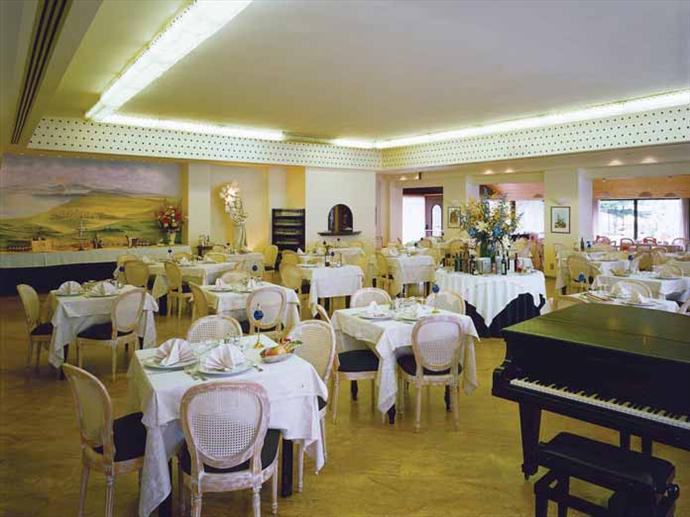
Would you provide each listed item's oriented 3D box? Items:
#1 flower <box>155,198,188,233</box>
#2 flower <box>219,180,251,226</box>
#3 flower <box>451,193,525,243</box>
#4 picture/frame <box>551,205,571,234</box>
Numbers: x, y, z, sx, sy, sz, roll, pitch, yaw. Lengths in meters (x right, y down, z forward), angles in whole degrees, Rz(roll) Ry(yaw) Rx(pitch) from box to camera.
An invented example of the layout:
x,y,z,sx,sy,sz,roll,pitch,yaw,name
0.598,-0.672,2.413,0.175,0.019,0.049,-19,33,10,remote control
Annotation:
x,y,z,sx,sy,sz,roll,pitch,yaw,name
-4.629,-1.126,13.472,0.745,0.360,0.856,3,14,-24,flower
-3.102,-1.425,14.207,0.736,1.278,0.294,-14,-4,-27,flower
2.206,-0.744,8.126,0.586,0.404,0.585,-22,27,-29,flower
6.080,-1.108,14.459,0.040,1.080,0.743,1,0,-42,picture/frame
